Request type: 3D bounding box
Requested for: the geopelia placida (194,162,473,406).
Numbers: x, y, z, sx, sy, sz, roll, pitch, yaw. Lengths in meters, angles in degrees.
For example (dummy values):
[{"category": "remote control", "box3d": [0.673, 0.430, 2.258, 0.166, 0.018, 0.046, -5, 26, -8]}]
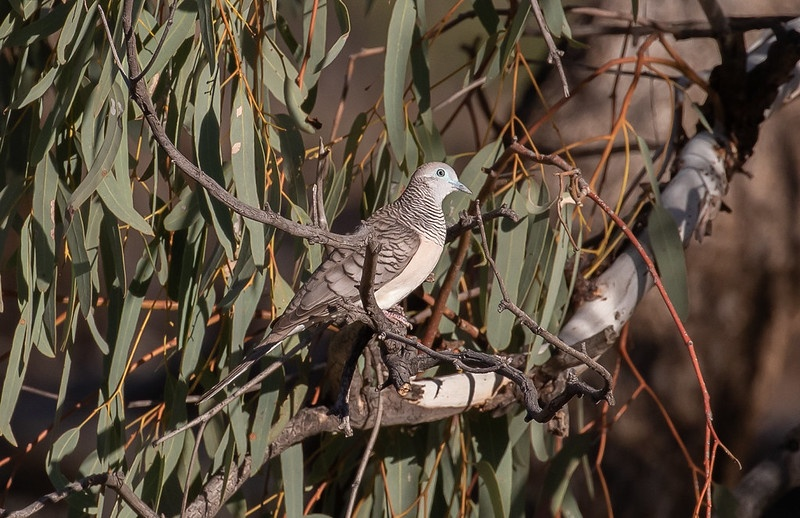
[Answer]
[{"category": "geopelia placida", "box3d": [-0.266, 0.074, 4.543, 1.123, 0.956, 0.416, -1, -5, -18]}]
